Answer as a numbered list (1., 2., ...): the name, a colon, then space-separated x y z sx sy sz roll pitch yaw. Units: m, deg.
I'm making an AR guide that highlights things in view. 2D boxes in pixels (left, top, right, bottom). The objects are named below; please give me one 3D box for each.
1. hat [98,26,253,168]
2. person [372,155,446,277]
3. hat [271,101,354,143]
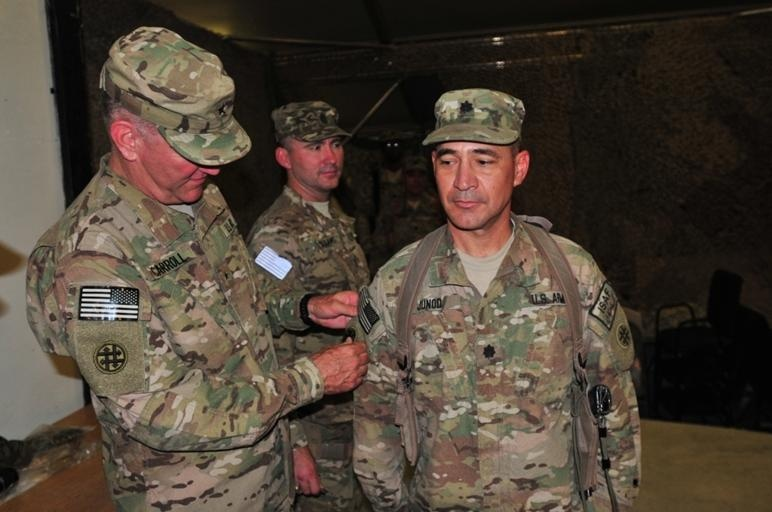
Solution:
1. hat: -1.117 -0.742 3.993 0.837 0.325 0.565 38 44 1
2. person: 0.155 -0.343 6.080 0.795 0.773 0.338 -4 -1 12
3. hat: -0.511 -0.874 5.053 0.400 0.170 0.297 3 7 42
